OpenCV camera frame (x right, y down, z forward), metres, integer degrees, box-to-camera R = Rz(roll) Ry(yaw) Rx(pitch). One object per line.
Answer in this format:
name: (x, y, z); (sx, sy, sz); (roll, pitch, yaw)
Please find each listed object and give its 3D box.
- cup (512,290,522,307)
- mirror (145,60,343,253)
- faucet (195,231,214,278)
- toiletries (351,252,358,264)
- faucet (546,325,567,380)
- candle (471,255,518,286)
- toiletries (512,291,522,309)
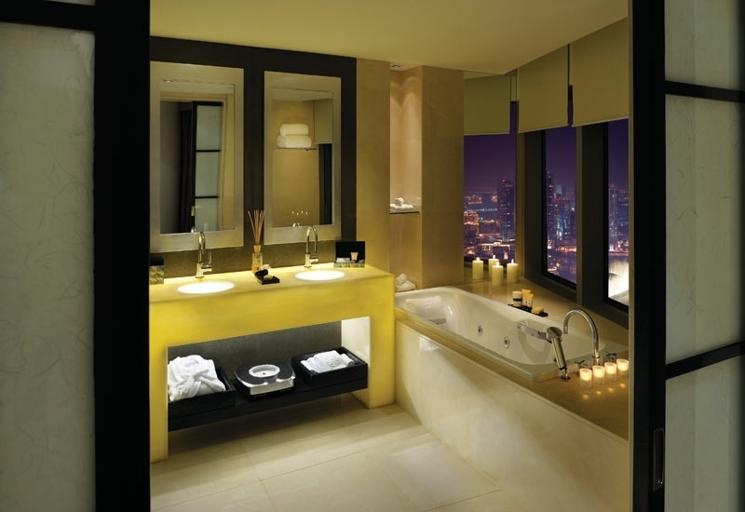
cup: (1.038, 0.318, 4.056); (0.085, 0.101, 0.088); (0, 2, 0)
mirror: (-0.876, -0.677, 3.681); (1.259, 1.150, 0.049); (-2, 4, -26)
faucet: (-1.086, -0.011, 3.625); (0.104, 0.304, 0.245); (-4, 12, -16)
toiletries: (-0.127, 0.010, 3.925); (0.069, 0.077, 0.065); (1, -2, -36)
faucet: (0.932, 0.474, 2.815); (0.072, 0.287, 0.064); (-3, -34, 3)
candle: (1.045, 0.151, 4.951); (0.170, 0.248, 0.527); (-1, 1, -27)
toiletries: (1.040, 0.314, 4.046); (0.086, 0.103, 0.089); (-1, 2, -10)
